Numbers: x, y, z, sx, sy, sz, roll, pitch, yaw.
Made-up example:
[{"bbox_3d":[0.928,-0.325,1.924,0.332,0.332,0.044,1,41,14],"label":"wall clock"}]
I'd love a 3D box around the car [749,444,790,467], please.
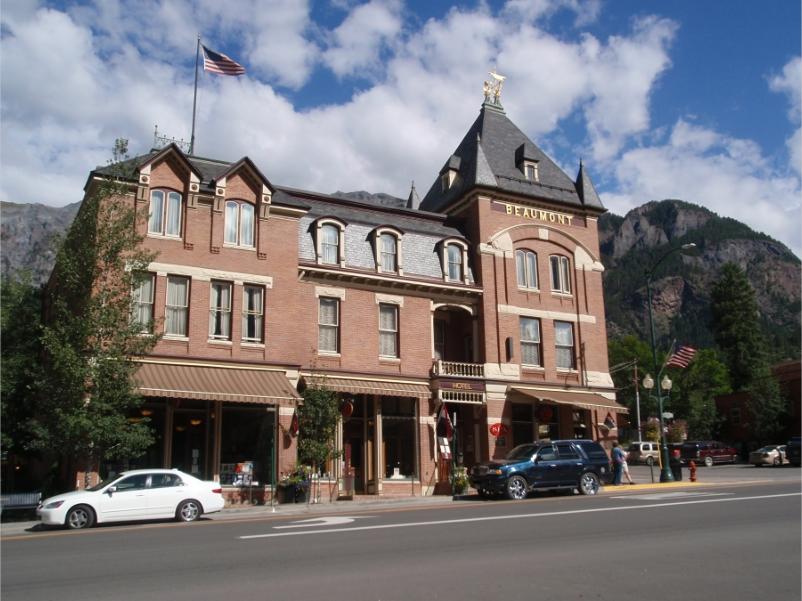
[{"bbox_3d":[26.275,10.826,46.977,2.865,1.003,1.318,2,-8,-32],"label":"car"}]

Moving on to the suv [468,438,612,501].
[{"bbox_3d":[5.604,6.430,25.753,5.186,2.217,1.389,1,-18,-14],"label":"suv"}]

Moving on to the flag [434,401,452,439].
[{"bbox_3d":[1.974,5.567,31.185,0.600,1.703,1.272,1,-18,-11],"label":"flag"}]

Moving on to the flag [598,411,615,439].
[{"bbox_3d":[10.706,6.501,35.021,0.944,1.393,0.321,5,-2,-27],"label":"flag"}]

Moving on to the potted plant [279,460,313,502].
[{"bbox_3d":[-4.276,7.318,26.888,1.485,1.522,0.795,-5,-17,7],"label":"potted plant"}]
